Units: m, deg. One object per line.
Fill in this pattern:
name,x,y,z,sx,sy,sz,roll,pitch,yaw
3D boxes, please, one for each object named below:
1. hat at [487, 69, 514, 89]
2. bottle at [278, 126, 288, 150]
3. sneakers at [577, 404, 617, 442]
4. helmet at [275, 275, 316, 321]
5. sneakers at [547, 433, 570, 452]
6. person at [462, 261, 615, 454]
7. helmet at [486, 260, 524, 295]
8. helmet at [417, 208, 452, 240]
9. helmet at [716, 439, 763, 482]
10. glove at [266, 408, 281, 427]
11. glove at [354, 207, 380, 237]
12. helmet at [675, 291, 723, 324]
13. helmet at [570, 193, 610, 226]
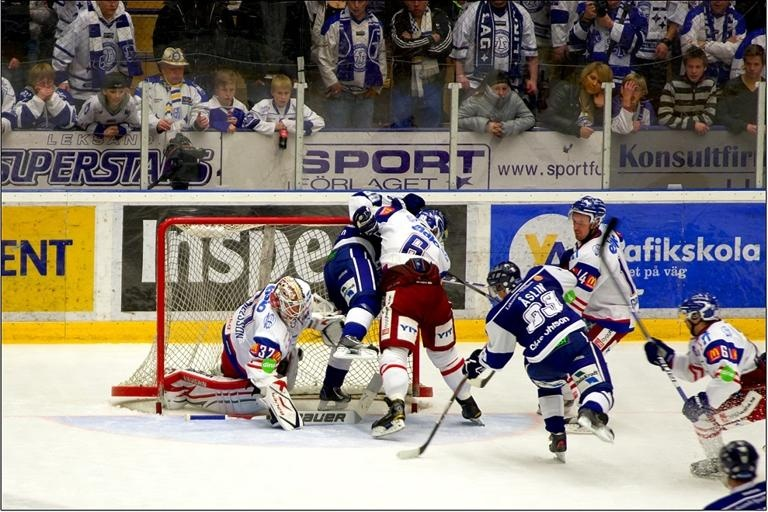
hat,1.240,-1.867,12.728,0.177,0.192,0.225,-7,3,-13
bottle,-1.068,-1.225,12.562,0.096,0.212,0.039,1,6,-6
sneakers,1.637,1.305,9.241,0.252,0.240,0.267,2,6,6
helmet,-0.805,0.334,10.285,0.343,0.349,0.413,-6,27,-32
sneakers,1.406,1.508,9.642,0.168,0.191,0.112,4,16,14
person,1.367,0.869,9.610,1.303,1.513,0.497,6,7,38
helmet,1.061,0.216,10.120,0.281,0.282,0.340,-4,-17,-30
helmet,0.454,-0.297,11.064,0.295,0.214,0.278,-19,-9,-18
helmet,2.554,1.483,8.681,0.339,0.339,0.407,1,1,4
glove,-0.962,1.392,10.217,0.070,0.211,0.083,-10,38,12
glove,-0.154,-0.292,10.573,0.185,0.252,0.124,-41,3,0
helmet,2.575,0.426,9.728,0.279,0.211,0.226,6,6,32
helmet,1.887,-0.392,10.819,0.337,0.269,0.244,21,22,-11
